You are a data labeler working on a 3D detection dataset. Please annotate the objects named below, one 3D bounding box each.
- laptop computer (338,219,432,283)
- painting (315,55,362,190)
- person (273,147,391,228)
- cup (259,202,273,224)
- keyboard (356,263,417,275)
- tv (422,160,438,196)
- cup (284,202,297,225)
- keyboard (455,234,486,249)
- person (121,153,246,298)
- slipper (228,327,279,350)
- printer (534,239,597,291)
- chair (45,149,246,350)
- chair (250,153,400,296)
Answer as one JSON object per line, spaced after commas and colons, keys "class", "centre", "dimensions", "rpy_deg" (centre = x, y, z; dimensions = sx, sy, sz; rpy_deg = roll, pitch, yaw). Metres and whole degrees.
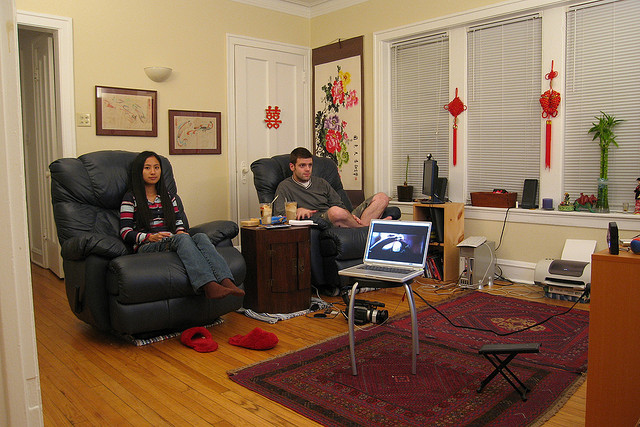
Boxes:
{"class": "laptop computer", "centre": [0.413, 0.229, 2.842], "dimensions": [0.454, 0.300, 0.403], "rpy_deg": [5, 14, 26]}
{"class": "painting", "centre": [0.233, -1.158, 5.795], "dimensions": [0.253, 1.648, 0.910], "rpy_deg": [-10, 15, -35]}
{"class": "person", "centre": [0.116, -0.230, 4.484], "dimensions": [1.007, 0.752, 0.776], "rpy_deg": [1, 2, 25]}
{"class": "cup", "centre": [-0.463, 0.003, 3.867], "dimensions": [0.094, 0.156, 0.164], "rpy_deg": [-2, 12, -5]}
{"class": "keyboard", "centre": [0.411, 0.353, 2.843], "dimensions": [0.364, 0.024, 0.147], "rpy_deg": [5, 14, 26]}
{"class": "tv", "centre": [1.123, -0.361, 4.608], "dimensions": [0.143, 0.399, 0.398], "rpy_deg": [2, 4, -4]}
{"class": "cup", "centre": [-0.259, -0.021, 3.981], "dimensions": [0.080, 0.142, 0.075], "rpy_deg": [-1, 12, 0]}
{"class": "keyboard", "centre": [1.469, 0.284, 4.361], "dimensions": [0.179, 0.075, 0.269], "rpy_deg": [9, 16, 40]}
{"class": "person", "centre": [-1.067, 0.068, 3.442], "dimensions": [1.439, 0.964, 0.517], "rpy_deg": [14, 12, 42]}
{"class": "slipper", "centre": [-0.477, 0.878, 3.233], "dimensions": [0.258, 0.091, 0.158], "rpy_deg": [0, 0, 18]}
{"class": "printer", "centre": [2.210, 0.462, 3.988], "dimensions": [0.317, 0.457, 0.508], "rpy_deg": [-1, 1, -34]}
{"class": "chair", "centre": [-1.462, 0.221, 3.739], "dimensions": [1.441, 1.445, 1.261], "rpy_deg": [6, 9, 43]}
{"class": "chair", "centre": [0.031, 0.077, 4.643], "dimensions": [1.406, 1.373, 1.308], "rpy_deg": [0, 5, 38]}
